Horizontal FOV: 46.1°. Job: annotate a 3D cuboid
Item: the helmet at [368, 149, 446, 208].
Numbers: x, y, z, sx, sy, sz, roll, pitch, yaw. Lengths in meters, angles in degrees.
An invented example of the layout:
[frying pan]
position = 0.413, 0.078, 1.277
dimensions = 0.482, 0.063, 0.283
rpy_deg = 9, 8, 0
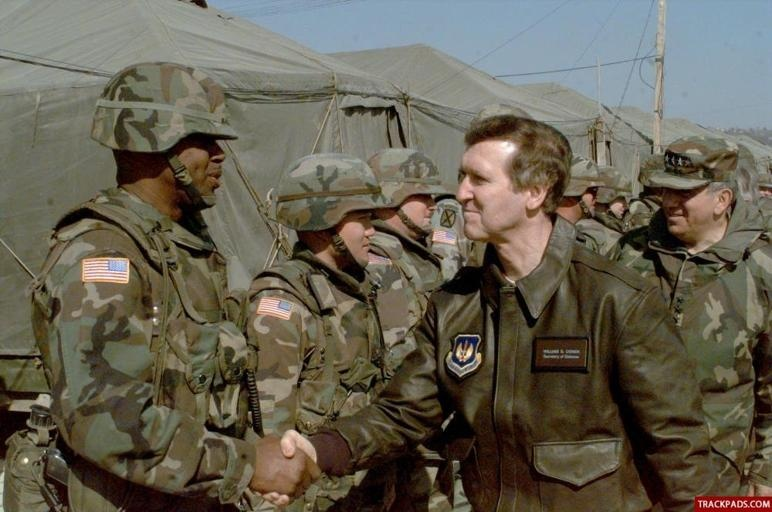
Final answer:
[helmet]
position = 0.188, -0.763, 8.485
dimensions = 0.647, 0.366, 0.567
rpy_deg = -2, 0, 23
